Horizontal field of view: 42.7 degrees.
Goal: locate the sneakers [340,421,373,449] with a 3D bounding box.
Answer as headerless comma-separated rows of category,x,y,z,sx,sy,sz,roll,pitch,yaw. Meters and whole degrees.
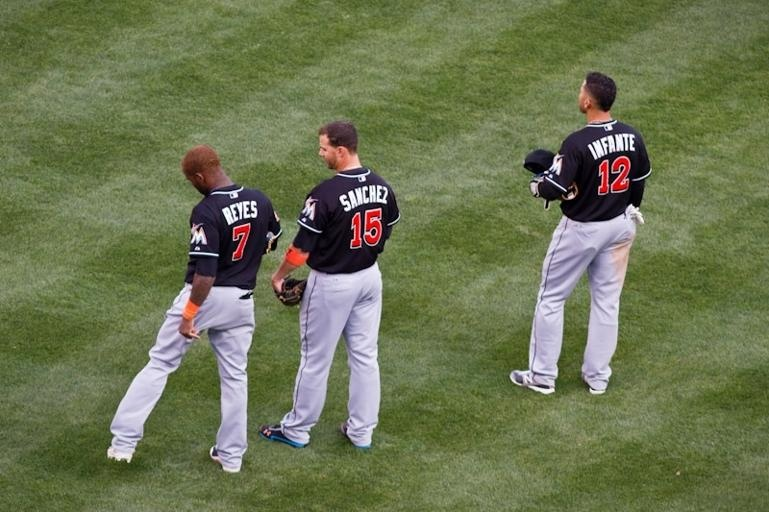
sneakers,-0.250,1.847,10.106,0.153,0.169,0.439,-15,37,-37

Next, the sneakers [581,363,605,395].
sneakers,2.300,1.304,10.704,0.168,0.164,0.391,0,23,1

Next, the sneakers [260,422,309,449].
sneakers,-1.029,1.788,10.180,0.506,0.190,0.209,21,9,8

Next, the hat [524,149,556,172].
hat,1.668,-0.995,10.620,0.344,0.202,0.199,-18,62,-2

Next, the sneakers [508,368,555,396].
sneakers,1.604,1.331,10.809,0.515,0.209,0.203,23,14,15

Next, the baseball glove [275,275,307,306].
baseball glove,-0.928,0.343,9.945,0.144,0.311,0.231,44,19,-17

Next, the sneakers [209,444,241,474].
sneakers,-1.632,1.988,9.915,0.156,0.165,0.424,-16,34,-39
